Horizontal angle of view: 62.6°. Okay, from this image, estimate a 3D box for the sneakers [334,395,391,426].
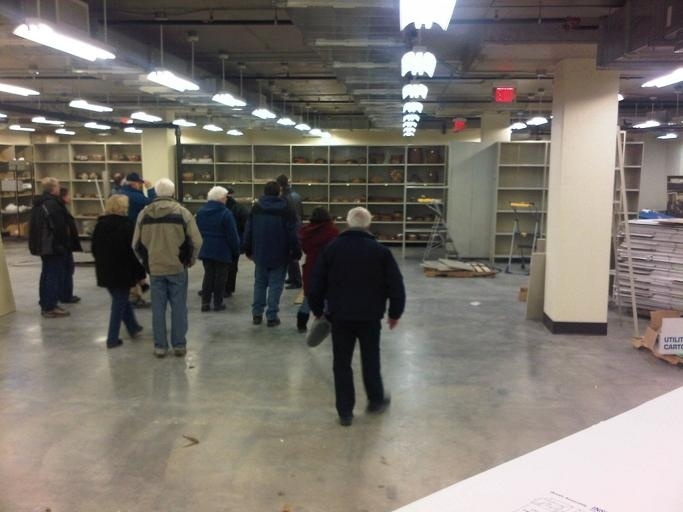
[{"bbox_3d":[0.197,1.426,5.218,0.172,0.234,0.565,7,29,38],"label":"sneakers"}]

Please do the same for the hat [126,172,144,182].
[{"bbox_3d":[-3.081,-1.171,8.371,0.137,0.108,0.204,20,19,32],"label":"hat"}]

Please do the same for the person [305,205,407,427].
[{"bbox_3d":[0.101,0.526,5.150,0.706,1.853,0.653,-8,16,-30],"label":"person"}]

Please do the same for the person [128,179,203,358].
[{"bbox_3d":[-1.988,0.259,6.473,0.735,1.842,0.358,-5,15,-18],"label":"person"}]

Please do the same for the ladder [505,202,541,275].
[{"bbox_3d":[4.210,-0.507,12.891,0.743,1.561,1.692,4,14,17],"label":"ladder"}]

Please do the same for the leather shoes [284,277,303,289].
[{"bbox_3d":[-0.869,0.493,10.175,0.407,0.275,0.133,3,8,5],"label":"leather shoes"}]

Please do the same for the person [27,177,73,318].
[{"bbox_3d":[-4.243,-0.106,8.182,0.546,1.986,0.708,-8,16,-28],"label":"person"}]
